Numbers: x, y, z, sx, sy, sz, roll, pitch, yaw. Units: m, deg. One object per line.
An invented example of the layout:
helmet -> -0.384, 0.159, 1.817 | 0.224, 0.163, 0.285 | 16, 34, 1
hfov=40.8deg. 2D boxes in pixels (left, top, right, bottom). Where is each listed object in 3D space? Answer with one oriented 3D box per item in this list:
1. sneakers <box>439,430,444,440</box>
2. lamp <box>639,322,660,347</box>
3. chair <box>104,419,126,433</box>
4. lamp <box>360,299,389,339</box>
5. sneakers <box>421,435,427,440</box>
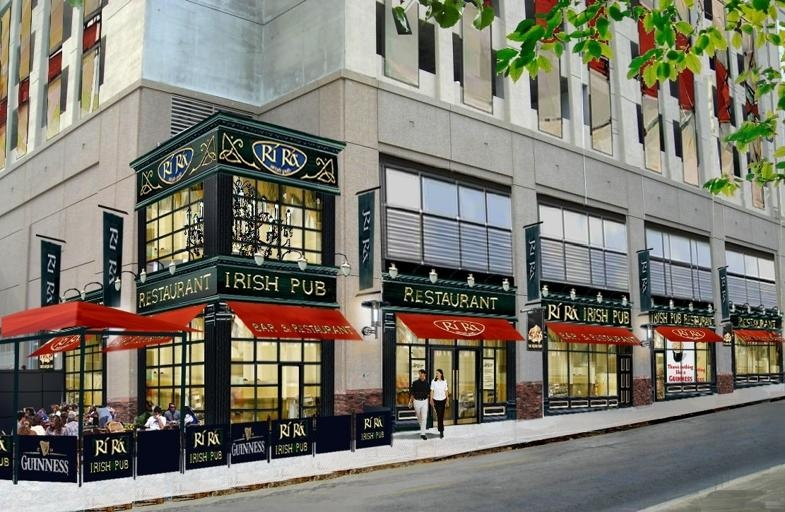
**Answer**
sneakers -> 2.160, 7.957, 46.772 | 0.248, 0.288, 0.253 | -6, -8, 44
lamp -> 14.742, 4.460, 59.690 | 1.027, 1.523, 1.504 | -1, -7, 25
chair -> -11.288, 6.951, 42.977 | 1.177, 0.435, 0.893 | 4, -7, -26
lamp -> -0.491, 2.931, 49.576 | 1.455, 2.039, 1.669 | -5, -8, 38
sneakers -> 1.389, 7.995, 46.510 | 0.249, 0.172, 0.135 | 2, -2, -42
